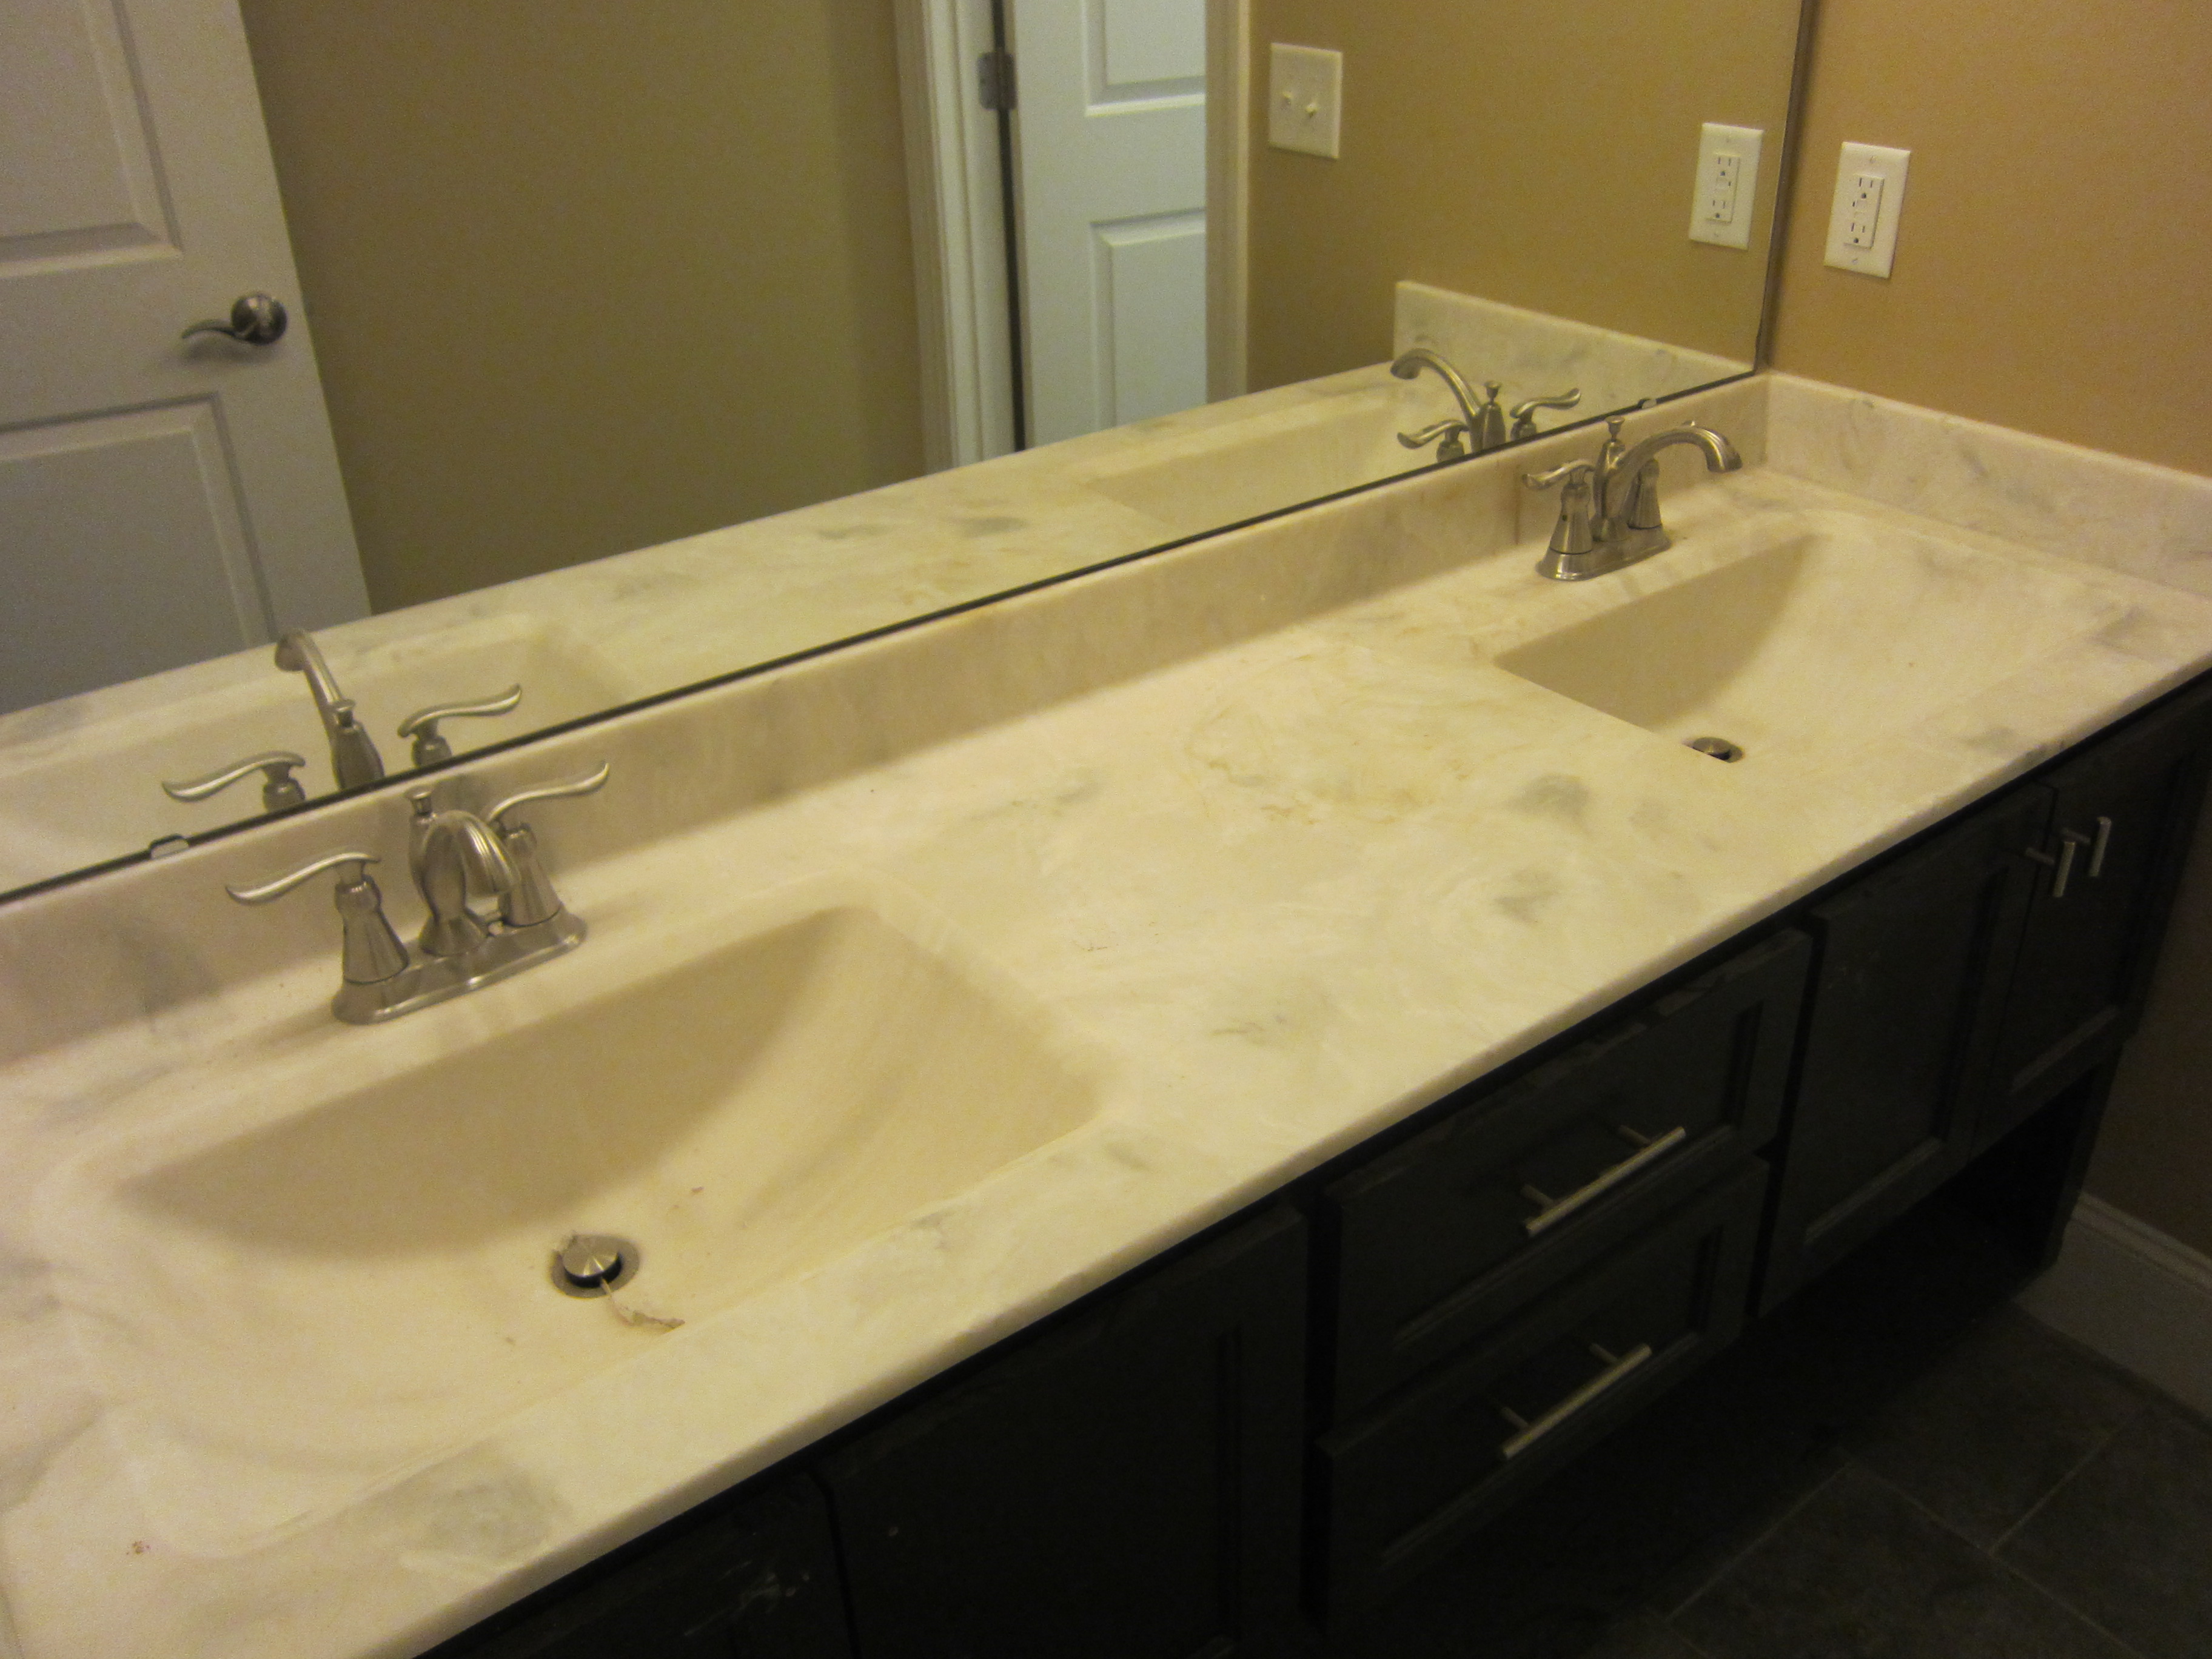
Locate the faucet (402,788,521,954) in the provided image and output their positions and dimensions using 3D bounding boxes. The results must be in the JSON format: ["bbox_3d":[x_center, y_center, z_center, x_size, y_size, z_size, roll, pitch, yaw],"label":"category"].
[{"bbox_3d":[-0.514,0.034,1.357,0.113,0.121,0.047,29,38,33],"label":"faucet"}]

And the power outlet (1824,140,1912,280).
[{"bbox_3d":[0.896,-0.735,2.017,0.009,0.139,0.090,-20,33,-29],"label":"power outlet"}]

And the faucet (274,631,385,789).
[{"bbox_3d":[-0.621,-0.092,1.372,0.030,0.173,0.064,-24,31,-34],"label":"faucet"}]
